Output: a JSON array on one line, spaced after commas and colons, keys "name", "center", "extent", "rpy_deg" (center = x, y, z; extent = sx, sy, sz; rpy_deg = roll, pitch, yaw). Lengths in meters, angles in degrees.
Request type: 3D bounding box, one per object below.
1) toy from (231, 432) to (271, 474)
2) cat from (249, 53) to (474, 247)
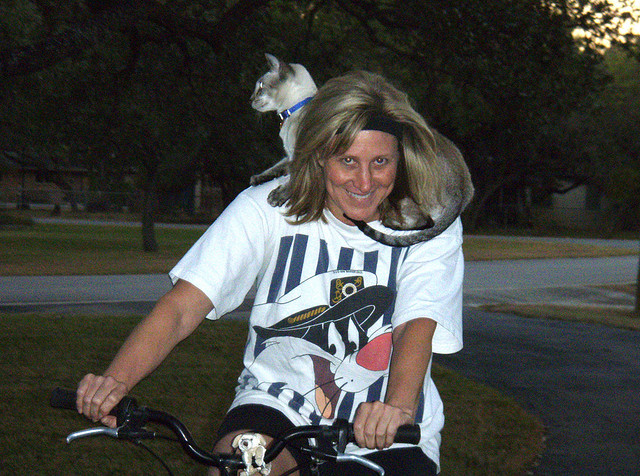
[{"name": "toy", "center": [-0.497, 1.591, 7.360], "extent": [0.238, 0.288, 0.097], "rpy_deg": [-7, -10, 3]}, {"name": "cat", "center": [0.461, -0.787, 8.860], "extent": [1.945, 1.031, 1.273], "rpy_deg": [29, 54, 24]}]
